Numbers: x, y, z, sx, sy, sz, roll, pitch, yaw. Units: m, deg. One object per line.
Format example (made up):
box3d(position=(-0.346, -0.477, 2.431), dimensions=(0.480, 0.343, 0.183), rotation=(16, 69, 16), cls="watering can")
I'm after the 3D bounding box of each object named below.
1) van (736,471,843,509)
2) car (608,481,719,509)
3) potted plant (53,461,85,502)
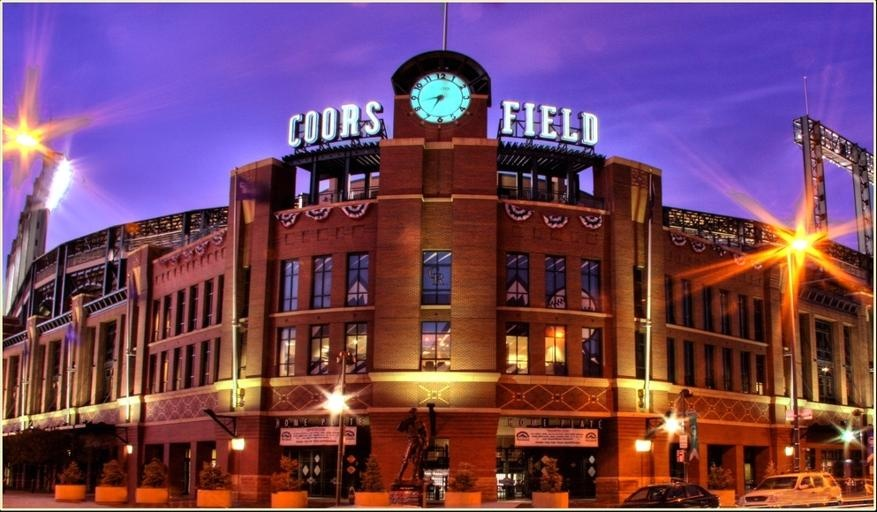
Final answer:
box3d(position=(28.497, 19.095, 75.839), dimensions=(7.013, 2.347, 3.542), rotation=(5, -17, -14), cls="van")
box3d(position=(18.101, 18.729, 72.485), dimensions=(6.574, 1.945, 2.744), rotation=(7, -20, -16), cls="car")
box3d(position=(-33.754, 20.749, 86.194), dimensions=(2.814, 3.412, 2.708), rotation=(-8, -10, 29), cls="potted plant")
